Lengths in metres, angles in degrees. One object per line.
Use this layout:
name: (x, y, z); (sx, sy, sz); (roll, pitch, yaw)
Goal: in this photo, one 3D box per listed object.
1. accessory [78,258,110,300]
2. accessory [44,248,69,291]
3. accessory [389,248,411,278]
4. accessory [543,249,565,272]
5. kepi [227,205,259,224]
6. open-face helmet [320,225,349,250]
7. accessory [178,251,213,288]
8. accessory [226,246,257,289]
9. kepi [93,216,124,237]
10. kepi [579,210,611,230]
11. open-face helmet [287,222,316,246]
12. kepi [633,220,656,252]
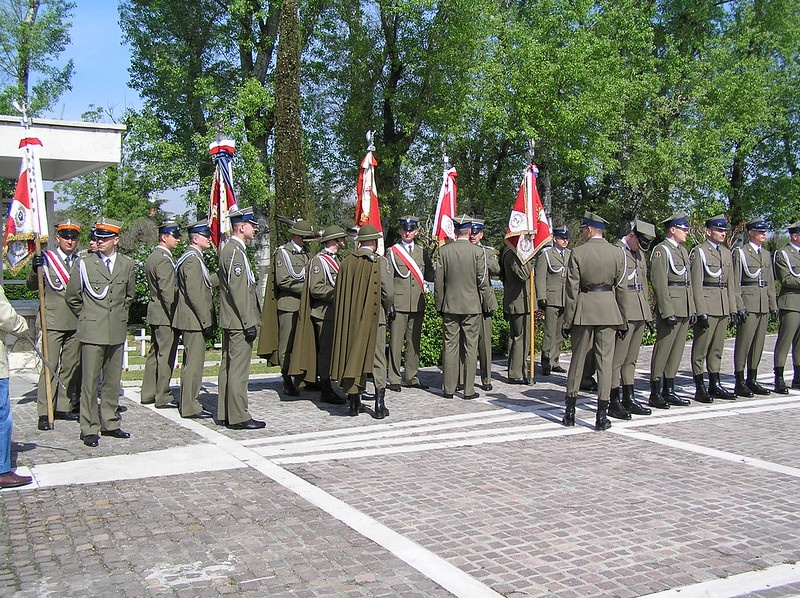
accessory: (-3.824, -0.230, 9.643); (0.362, 0.473, 0.129); (-12, -12, -5)
accessory: (-4.755, -0.395, 10.733); (0.111, 0.543, 0.305); (-26, -1, 15)
accessory: (0.016, -0.615, 12.554); (0.354, 0.448, 0.138); (-3, -12, -19)
accessory: (2.733, -0.677, 13.948); (0.340, 0.448, 0.204); (-1, -4, -7)
kepi: (-2.107, -1.111, 10.232); (0.306, 0.150, 0.257); (-1, 3, -3)
open-face helmet: (-0.940, -0.924, 11.389); (0.349, 0.272, 0.313); (-12, 19, -25)
accessory: (-2.794, -0.446, 10.735); (0.399, 0.537, 0.162); (-7, 3, 21)
accessory: (-2.094, -0.432, 10.367); (0.396, 0.705, 0.543); (-1, 3, -16)
kepi: (-3.598, -0.884, 9.562); (0.307, 0.244, 0.304); (-4, 10, -26)
kepi: (2.589, -1.078, 10.476); (0.325, 0.161, 0.263); (3, 2, 24)
open-face helmet: (-1.474, -0.997, 12.041); (0.396, 0.324, 0.373); (33, 40, 25)
kepi: (3.350, -0.904, 10.765); (0.383, 0.381, 0.170); (-10, -7, -37)
